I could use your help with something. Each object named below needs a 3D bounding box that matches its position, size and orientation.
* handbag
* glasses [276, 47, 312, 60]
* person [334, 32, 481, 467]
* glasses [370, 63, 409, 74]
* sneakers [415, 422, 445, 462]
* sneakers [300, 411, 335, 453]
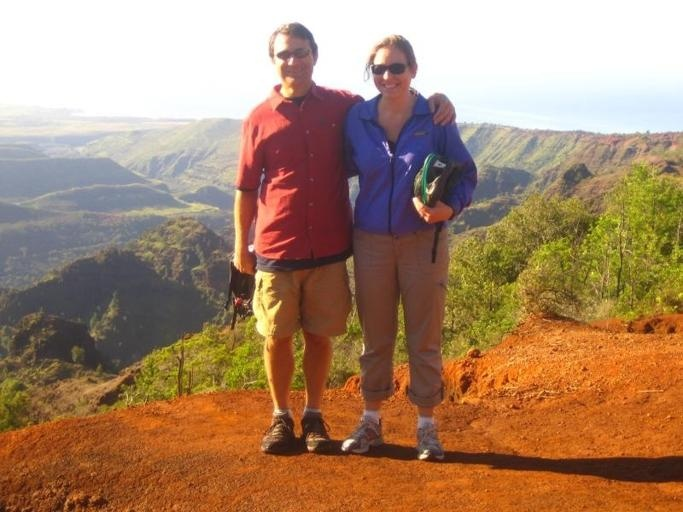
[{"bbox_3d":[0.841,-0.433,5.272,0.281,0.857,0.480,22,-7,-30],"label":"handbag"},{"bbox_3d":[-0.425,-1.827,5.427,0.142,0.049,0.153,-8,-1,4],"label":"glasses"},{"bbox_3d":[0.555,-0.084,5.482,1.094,3.808,0.493,1,5,15],"label":"person"},{"bbox_3d":[0.419,-1.669,5.376,0.326,0.108,0.094,1,5,12],"label":"glasses"},{"bbox_3d":[0.806,1.712,5.562,0.150,0.185,0.406,-4,7,-3],"label":"sneakers"},{"bbox_3d":[-0.238,1.661,5.763,0.213,0.297,0.670,-3,1,-8],"label":"sneakers"}]
